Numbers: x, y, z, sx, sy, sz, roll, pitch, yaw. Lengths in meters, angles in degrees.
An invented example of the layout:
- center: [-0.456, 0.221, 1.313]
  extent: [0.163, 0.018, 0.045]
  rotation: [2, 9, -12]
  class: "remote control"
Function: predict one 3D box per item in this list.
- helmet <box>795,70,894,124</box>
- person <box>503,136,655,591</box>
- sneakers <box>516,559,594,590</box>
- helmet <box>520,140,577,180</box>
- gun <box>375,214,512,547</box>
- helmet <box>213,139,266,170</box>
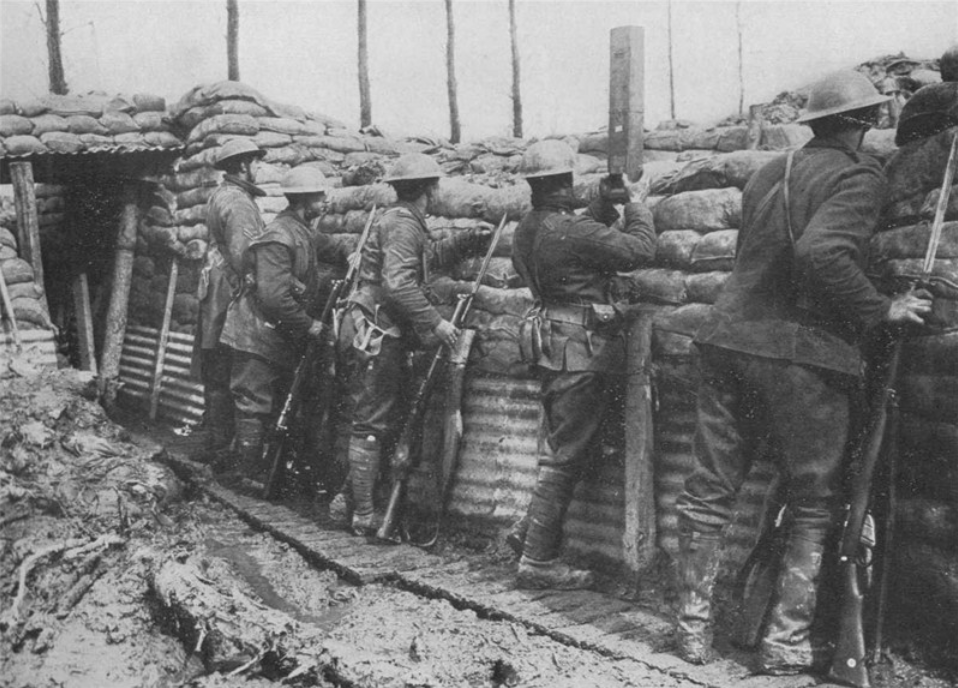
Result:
- center: [2.040, -1.354, 5.421]
  extent: [0.366, 0.161, 0.319]
  rotation: [-16, 7, 13]
  class: "helmet"
- center: [0.649, 0.121, 6.320]
  extent: [0.870, 2.831, 0.679]
  rotation: [1, 10, 0]
  class: "person"
- center: [0.480, 1.498, 6.371]
  extent: [0.546, 0.237, 0.183]
  rotation: [0, -4, -9]
  class: "sneakers"
- center: [0.446, -1.189, 6.307]
  extent: [0.278, 0.147, 0.274]
  rotation: [-16, 17, -33]
  class: "helmet"
- center: [-0.317, 0.225, 7.135]
  extent: [0.686, 2.348, 1.000]
  rotation: [8, 12, 33]
  class: "gun"
- center: [-2.038, -1.554, 8.149]
  extent: [0.339, 0.143, 0.346]
  rotation: [-26, 6, 6]
  class: "helmet"
